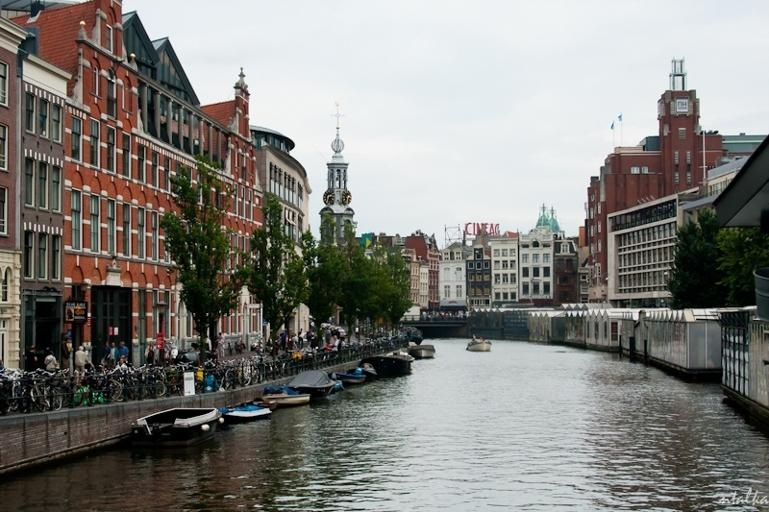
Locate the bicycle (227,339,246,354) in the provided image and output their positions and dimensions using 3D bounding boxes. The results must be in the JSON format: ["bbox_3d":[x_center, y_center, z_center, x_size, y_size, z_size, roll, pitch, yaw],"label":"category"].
[{"bbox_3d":[-13.264,7.904,108.932,1.331,2.035,1.007,-3,7,-23],"label":"bicycle"}]

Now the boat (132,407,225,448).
[{"bbox_3d":[-12.087,9.684,70.972,2.305,2.153,5.094,-8,-9,40],"label":"boat"}]
